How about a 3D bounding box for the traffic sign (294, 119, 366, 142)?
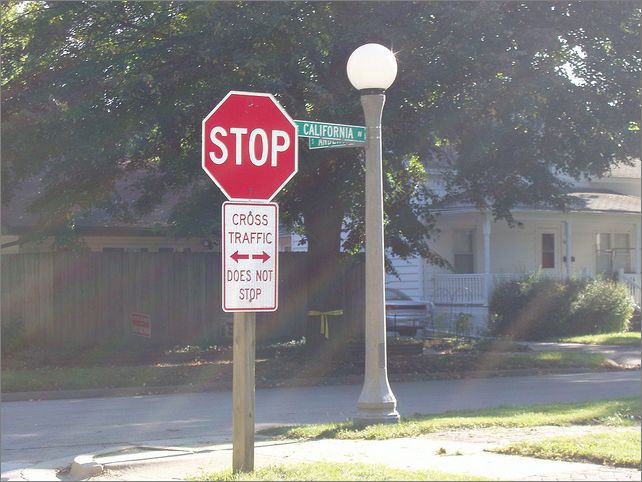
[{"bbox_3d":[0.187,-2.319,30.618,1.763,0.486,0.229,-5,9,-33],"label":"traffic sign"}]
